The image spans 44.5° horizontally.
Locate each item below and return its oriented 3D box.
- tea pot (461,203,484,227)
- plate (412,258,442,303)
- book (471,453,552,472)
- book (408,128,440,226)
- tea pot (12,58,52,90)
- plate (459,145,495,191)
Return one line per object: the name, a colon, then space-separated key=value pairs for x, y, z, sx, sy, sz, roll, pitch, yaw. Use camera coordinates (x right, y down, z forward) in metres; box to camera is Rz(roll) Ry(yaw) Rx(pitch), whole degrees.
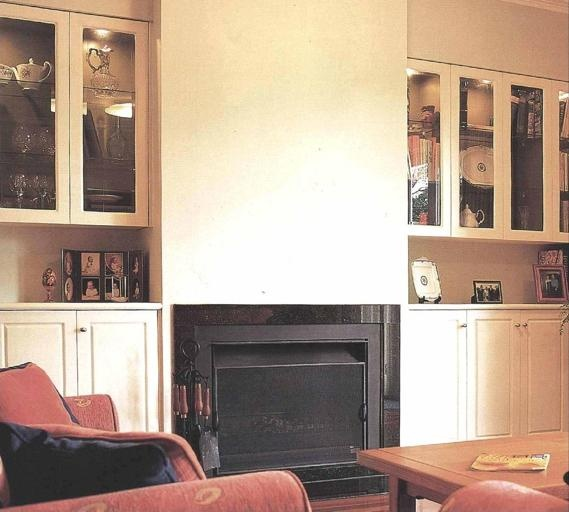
tea pot: x=1.166 y=-0.259 z=4.405 sx=0.149 sy=0.141 sz=0.114 roll=2 pitch=-1 yaw=14
plate: x=0.878 y=0.154 z=4.425 sx=0.181 sy=0.289 sz=0.231 roll=-2 pitch=-5 yaw=17
book: x=0.835 y=0.767 z=2.602 sx=0.280 sy=0.040 sz=0.228 roll=-2 pitch=-5 yaw=16
book: x=0.845 y=-0.476 z=4.284 sx=0.241 sy=0.554 sz=0.033 roll=2 pitch=-5 yaw=-24
tea pot: x=-1.326 y=-0.962 z=3.674 sx=0.222 sy=0.173 sz=0.145 roll=0 pitch=2 yaw=-2
plate: x=1.217 y=-0.562 z=4.439 sx=0.248 sy=0.257 sz=0.051 roll=24 pitch=-11 yaw=-20
